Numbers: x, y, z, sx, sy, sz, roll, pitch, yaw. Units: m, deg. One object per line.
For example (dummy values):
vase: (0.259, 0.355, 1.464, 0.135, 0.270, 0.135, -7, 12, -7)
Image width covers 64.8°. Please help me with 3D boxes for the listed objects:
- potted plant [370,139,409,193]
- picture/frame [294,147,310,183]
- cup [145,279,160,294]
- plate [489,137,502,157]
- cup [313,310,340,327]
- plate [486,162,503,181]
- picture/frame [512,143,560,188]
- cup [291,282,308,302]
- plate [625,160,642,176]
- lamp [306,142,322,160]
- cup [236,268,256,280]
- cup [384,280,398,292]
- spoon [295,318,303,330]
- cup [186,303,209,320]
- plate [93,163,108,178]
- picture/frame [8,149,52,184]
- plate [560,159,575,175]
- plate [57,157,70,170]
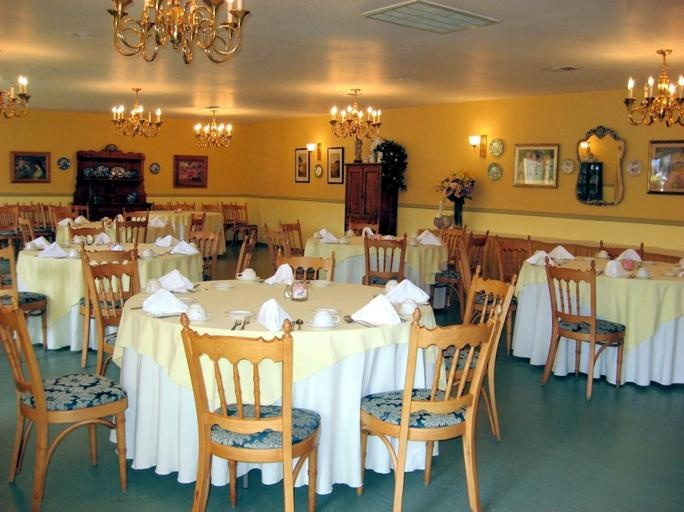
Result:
potted plant: (0.944, -1.834, 11.157, 0.724, 1.029, 0.604, 7, -11, -29)
picture/frame: (-1.002, -2.345, 13.657, 0.059, 1.112, 0.807, -8, 13, -36)
cup: (-1.361, 0.216, 3.883, 0.117, 0.116, 0.088, -1, 5, -25)
plate: (2.795, -1.970, 9.763, 0.067, 0.282, 0.280, -2, 16, -37)
cup: (-0.096, 0.371, 3.218, 0.126, 0.085, 0.095, 3, -2, -23)
plate: (2.794, -1.552, 9.849, 0.070, 0.325, 0.297, -7, 13, -41)
picture/frame: (3.373, -1.573, 9.277, 0.059, 0.756, 0.751, -8, 13, -39)
cup: (-0.321, 0.259, 3.895, 0.123, 0.135, 0.121, 0, -1, 0)
plate: (4.461, -1.356, 8.246, 0.041, 0.224, 0.240, -6, 12, -38)
lamp: (-0.801, -2.585, 13.196, 0.445, 0.477, 0.308, -3, 5, -40)
cup: (-0.805, 0.152, 4.502, 0.144, 0.098, 0.108, -2, 0, 17)
cup: (0.371, 0.215, 4.014, 0.068, 0.086, 0.091, 1, 0, -17)
spoon: (-0.253, 0.401, 3.180, 0.032, 0.051, 0.051, -2, -11, 0)
cup: (-0.894, 0.336, 3.315, 0.127, 0.087, 0.144, -1, 10, -17)
plate: (-5.874, -2.075, 13.101, 0.316, 0.313, 0.073, 6, -2, -17)
picture/frame: (-7.378, -2.115, 12.615, 0.848, 0.832, 0.062, -2, 4, -33)
plate: (3.726, -1.489, 8.919, 0.053, 0.218, 0.217, -6, 19, -44)
plate: (-6.721, -2.235, 13.006, 0.286, 0.320, 0.065, -6, 13, -40)
